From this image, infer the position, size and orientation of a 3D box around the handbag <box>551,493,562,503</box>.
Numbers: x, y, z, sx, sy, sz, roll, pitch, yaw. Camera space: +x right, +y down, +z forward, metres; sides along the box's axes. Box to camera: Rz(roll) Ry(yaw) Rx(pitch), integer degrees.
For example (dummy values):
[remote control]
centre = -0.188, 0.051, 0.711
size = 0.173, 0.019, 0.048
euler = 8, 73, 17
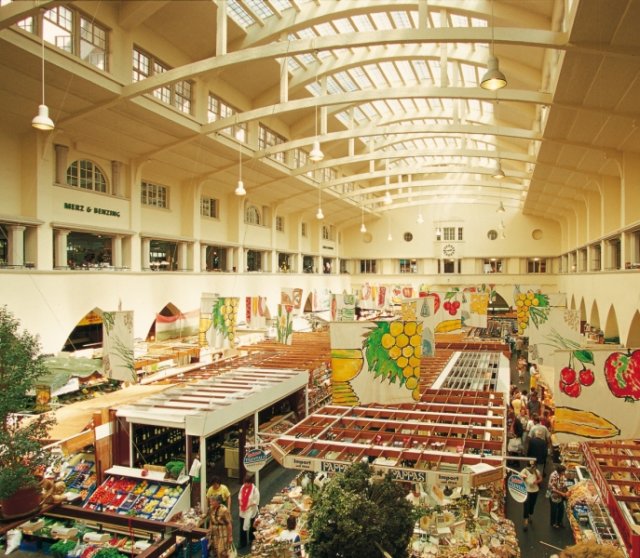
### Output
[handbag]
centre = 3.875, 3.589, 7.545
size = 0.193, 0.141, 0.193
euler = 0, -6, 12

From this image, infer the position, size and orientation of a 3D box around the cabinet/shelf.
[cabinet/shelf]
centre = -2.881, 3.378, 7.126
size = 1.542, 0.331, 0.557
euler = -1, 1, 18
